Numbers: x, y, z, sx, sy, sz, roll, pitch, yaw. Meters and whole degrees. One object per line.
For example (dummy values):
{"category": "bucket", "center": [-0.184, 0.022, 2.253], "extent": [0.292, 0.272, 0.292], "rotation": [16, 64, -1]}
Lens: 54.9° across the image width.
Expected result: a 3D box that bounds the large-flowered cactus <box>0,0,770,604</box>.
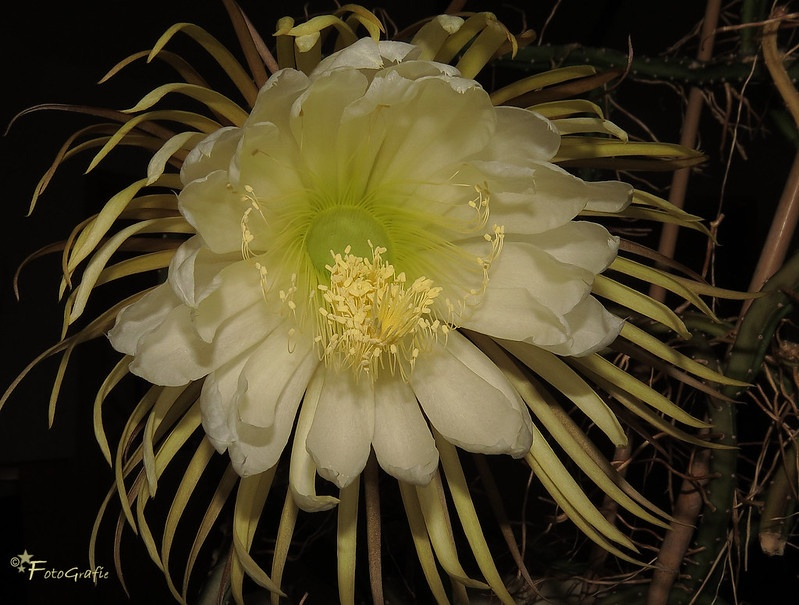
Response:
{"category": "large-flowered cactus", "center": [0.016, 0.014, 1.737], "extent": [1.214, 0.628, 1.096], "rotation": [-32, -83, 2]}
